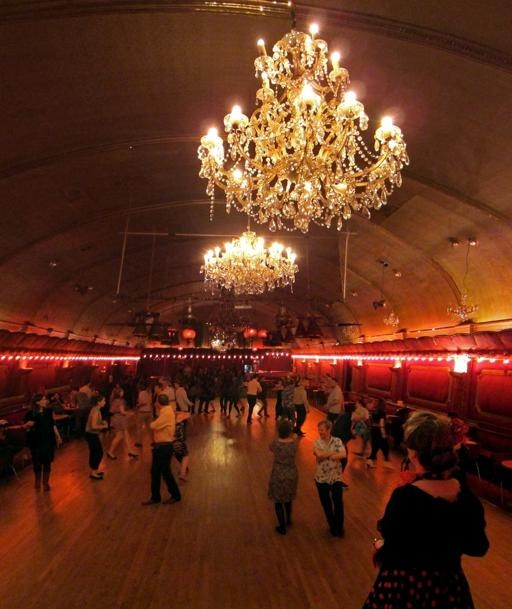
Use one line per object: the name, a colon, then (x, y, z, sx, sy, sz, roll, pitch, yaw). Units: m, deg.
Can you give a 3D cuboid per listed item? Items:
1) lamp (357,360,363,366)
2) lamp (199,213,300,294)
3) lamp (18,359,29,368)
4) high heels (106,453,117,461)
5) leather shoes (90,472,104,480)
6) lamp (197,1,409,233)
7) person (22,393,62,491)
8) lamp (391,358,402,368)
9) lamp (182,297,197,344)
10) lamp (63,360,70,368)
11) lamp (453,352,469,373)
lamp: (4.445, 2.495, 17.375, 0.136, 0.222, 0.222, -3, -29, 1)
lamp: (-0.168, -0.998, 9.166, 2.339, 1.408, 2.279, -10, 17, -31)
lamp: (-6.554, 1.680, 11.409, 0.247, 0.237, 0.247, 6, -2, -17)
high heels: (-3.307, 3.453, 9.242, 0.111, 0.156, 0.369, 0, -9, -25)
leather shoes: (-3.017, 3.233, 7.664, 0.173, 0.063, 0.123, 5, 3, -8)
lamp: (0.508, -2.184, 4.512, 1.961, 2.440, 1.981, -2, 5, 37)
person: (-3.695, 2.366, 6.933, 0.480, 1.618, 0.612, 4, -8, -18)
lamp: (4.770, 2.020, 13.688, 0.227, 0.404, 0.425, 5, -12, -12)
lamp: (-3.058, 0.796, 18.691, 0.673, 1.972, 0.671, 2, -2, -15)
lamp: (-6.961, 2.189, 14.832, 0.202, 0.193, 0.203, -1, -6, 29)
lamp: (5.024, 1.465, 9.948, 0.100, 0.399, 0.426, 10, -14, -15)
